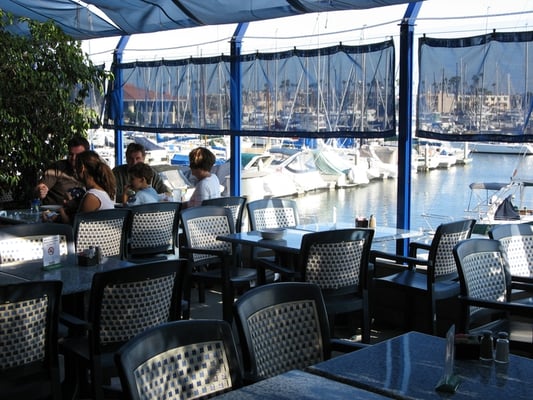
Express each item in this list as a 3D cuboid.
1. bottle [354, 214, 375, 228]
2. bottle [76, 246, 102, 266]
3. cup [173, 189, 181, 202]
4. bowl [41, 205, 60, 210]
[{"bbox_3d":[0.875,0.190,5.659,0.176,0.156,0.106,1,-1,-31],"label":"bottle"},{"bbox_3d":[-1.239,0.378,4.420,0.126,0.155,0.134,-6,10,-36],"label":"bottle"},{"bbox_3d":[-1.041,-0.048,7.310,0.082,0.196,0.095,2,13,1],"label":"cup"},{"bbox_3d":[-2.219,0.077,6.488,0.105,0.036,0.130,1,1,-2],"label":"bowl"}]
